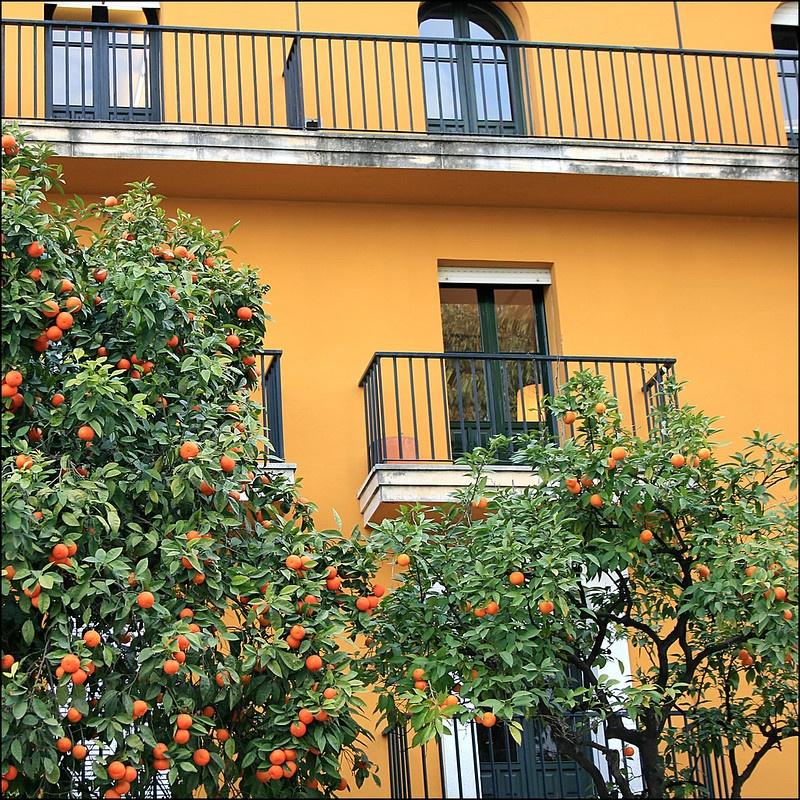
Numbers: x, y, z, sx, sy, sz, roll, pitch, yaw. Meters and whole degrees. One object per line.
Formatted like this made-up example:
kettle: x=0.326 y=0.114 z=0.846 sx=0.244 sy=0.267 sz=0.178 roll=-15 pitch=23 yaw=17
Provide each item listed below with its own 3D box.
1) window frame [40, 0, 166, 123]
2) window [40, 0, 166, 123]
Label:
window frame: x=-2.558 y=-2.866 z=12.885 sx=1.289 sy=1.551 sz=0.069 roll=2 pitch=-21 yaw=-13
window: x=-2.558 y=-2.866 z=12.885 sx=1.289 sy=1.551 sz=0.069 roll=2 pitch=-21 yaw=-13
